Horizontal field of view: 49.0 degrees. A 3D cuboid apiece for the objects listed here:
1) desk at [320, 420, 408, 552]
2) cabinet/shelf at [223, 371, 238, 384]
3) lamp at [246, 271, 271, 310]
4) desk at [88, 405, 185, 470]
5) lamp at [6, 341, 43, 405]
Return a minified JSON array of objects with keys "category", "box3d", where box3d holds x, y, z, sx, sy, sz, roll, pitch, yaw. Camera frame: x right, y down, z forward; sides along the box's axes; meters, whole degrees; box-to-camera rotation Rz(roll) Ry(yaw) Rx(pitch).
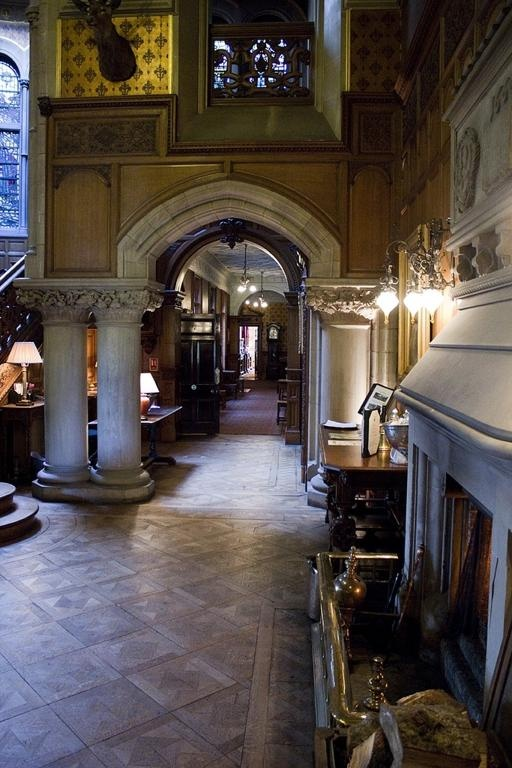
[{"category":"desk","box3d":[0.779,0.732,3.995,0.435,0.568,1.104,0,4,2]},{"category":"cabinet/shelf","box3d":[-0.850,-0.192,17.948,0.340,0.272,0.572,2,5,1]},{"category":"lamp","box3d":[0.053,-3.979,24.879,1.134,2.494,1.191,3,4,0]},{"category":"desk","box3d":[-1.920,0.781,9.383,1.322,0.846,3.992,0,2,-2]},{"category":"lamp","box3d":[-2.915,-0.142,7.073,0.375,0.767,0.565,-1,2,-25]}]
